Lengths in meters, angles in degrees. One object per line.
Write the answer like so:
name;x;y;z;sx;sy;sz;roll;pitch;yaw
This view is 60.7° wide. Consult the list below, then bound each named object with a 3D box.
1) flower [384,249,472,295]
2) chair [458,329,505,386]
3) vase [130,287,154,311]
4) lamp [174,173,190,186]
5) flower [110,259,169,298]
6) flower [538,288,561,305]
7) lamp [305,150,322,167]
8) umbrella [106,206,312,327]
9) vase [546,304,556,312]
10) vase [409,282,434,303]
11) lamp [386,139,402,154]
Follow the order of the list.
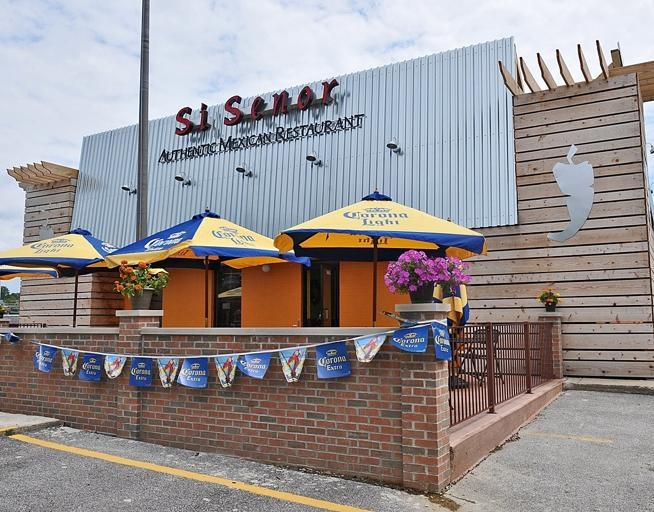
flower;1.398;0.252;7.964;0.872;0.501;0.690;-1;0;6
chair;2.580;1.450;8.917;0.600;0.707;0.562;-13;4;-9
vase;-3.240;0.758;9.834;0.368;0.267;0.359;0;-15;-7
lamp;-4.783;-2.529;18.557;0.623;0.369;0.296;2;4;26
flower;-3.298;0.375;10.067;0.991;0.543;1.096;4;13;35
flower;5.327;0.993;13.393;0.407;0.357;0.408;-4;-15;31
lamp;-0.398;-2.881;16.384;0.287;0.427;0.562;4;-15;43
umbrella;-2.499;-0.100;12.134;3.026;2.230;3.017;-1;-7;-4
vase;5.395;1.251;13.448;0.206;0.156;0.172;0;-12;7
vase;1.350;0.533;7.822;0.297;0.213;0.307;0;-13;1
lamp;1.872;-3.012;15.430;0.229;0.239;0.579;0;-4;19
